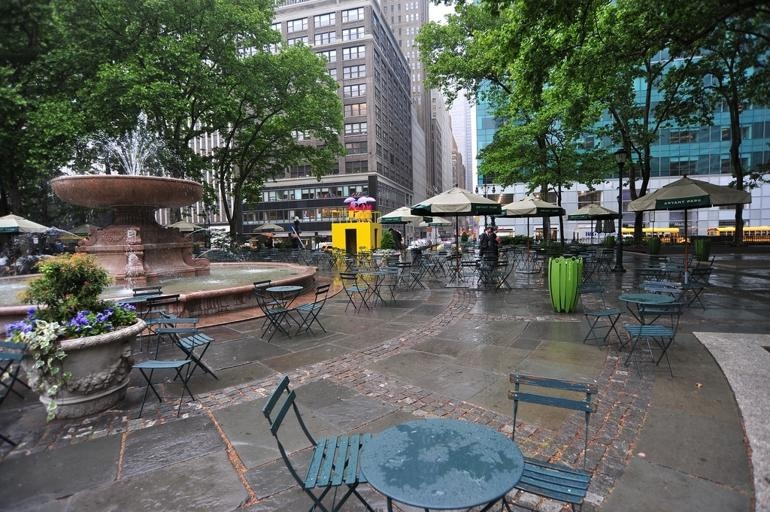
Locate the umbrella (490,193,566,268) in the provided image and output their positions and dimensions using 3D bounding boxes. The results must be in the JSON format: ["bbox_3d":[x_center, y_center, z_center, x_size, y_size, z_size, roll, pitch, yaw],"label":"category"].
[{"bbox_3d":[6.492,-1.311,20.968,2.181,2.563,2.316,0,7,32],"label":"umbrella"}]

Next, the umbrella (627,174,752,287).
[{"bbox_3d":[9.459,-0.738,15.654,3.478,3.313,3.685,-2,7,27],"label":"umbrella"}]

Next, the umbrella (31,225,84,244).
[{"bbox_3d":[-22.178,-1.397,32.481,2.788,1.003,2.670,1,3,-21],"label":"umbrella"}]

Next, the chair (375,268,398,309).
[{"bbox_3d":[0.145,1.029,17.975,1.155,1.184,1.091,0,-3,-10],"label":"chair"}]

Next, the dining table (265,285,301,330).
[{"bbox_3d":[-3.110,1.433,14.168,1.384,1.383,1.274,-2,9,-10],"label":"dining table"}]

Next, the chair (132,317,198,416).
[{"bbox_3d":[-4.906,2.611,10.622,1.436,1.343,1.260,1,-2,-2],"label":"chair"}]

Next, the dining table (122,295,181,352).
[{"bbox_3d":[-5.852,1.690,11.958,0.979,1.232,1.290,8,5,30],"label":"dining table"}]

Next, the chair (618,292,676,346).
[{"bbox_3d":[6.580,1.598,12.018,0.955,1.370,1.027,-1,29,17],"label":"chair"}]
